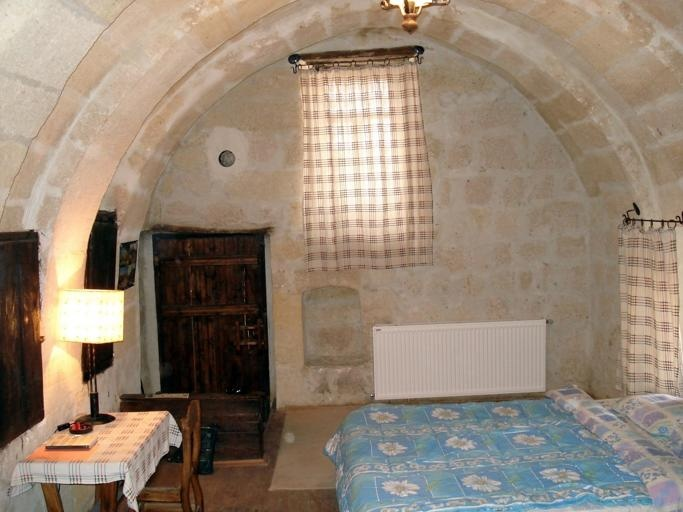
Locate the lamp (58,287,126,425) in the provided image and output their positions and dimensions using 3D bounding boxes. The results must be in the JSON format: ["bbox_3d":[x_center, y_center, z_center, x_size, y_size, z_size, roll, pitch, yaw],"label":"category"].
[{"bbox_3d":[-1.649,0.676,3.890,0.308,0.857,0.329,-4,-2,13],"label":"lamp"}]

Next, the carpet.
[{"bbox_3d":[-0.216,1.627,5.307,0.643,0.018,1.606,0,13,3],"label":"carpet"}]

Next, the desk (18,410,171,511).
[{"bbox_3d":[-1.542,1.315,3.809,0.731,0.428,0.855,-3,12,2],"label":"desk"}]
